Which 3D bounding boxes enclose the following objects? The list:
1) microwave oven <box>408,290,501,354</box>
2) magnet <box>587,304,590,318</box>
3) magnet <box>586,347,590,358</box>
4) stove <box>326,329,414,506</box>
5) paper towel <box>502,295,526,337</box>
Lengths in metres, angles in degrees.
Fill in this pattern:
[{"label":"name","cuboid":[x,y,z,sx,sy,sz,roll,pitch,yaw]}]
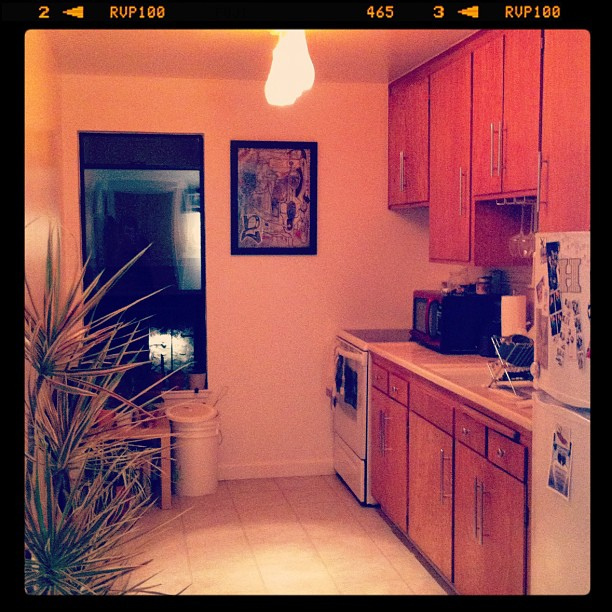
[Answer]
[{"label":"microwave oven","cuboid":[0.497,0.052,2.371,0.186,0.207,0.410,-1,5,-30]},{"label":"magnet","cuboid":[0.378,0.007,0.872,0.002,0.014,0.011,2,4,11]},{"label":"magnet","cuboid":[0.374,0.061,0.863,0.003,0.011,0.012,2,4,12]},{"label":"stove","cuboid":[0.303,0.431,2.687,0.366,0.629,0.397,-2,8,-18]},{"label":"paper towel","cuboid":[0.606,0.028,1.895,0.068,0.116,0.061,3,4,22]}]
